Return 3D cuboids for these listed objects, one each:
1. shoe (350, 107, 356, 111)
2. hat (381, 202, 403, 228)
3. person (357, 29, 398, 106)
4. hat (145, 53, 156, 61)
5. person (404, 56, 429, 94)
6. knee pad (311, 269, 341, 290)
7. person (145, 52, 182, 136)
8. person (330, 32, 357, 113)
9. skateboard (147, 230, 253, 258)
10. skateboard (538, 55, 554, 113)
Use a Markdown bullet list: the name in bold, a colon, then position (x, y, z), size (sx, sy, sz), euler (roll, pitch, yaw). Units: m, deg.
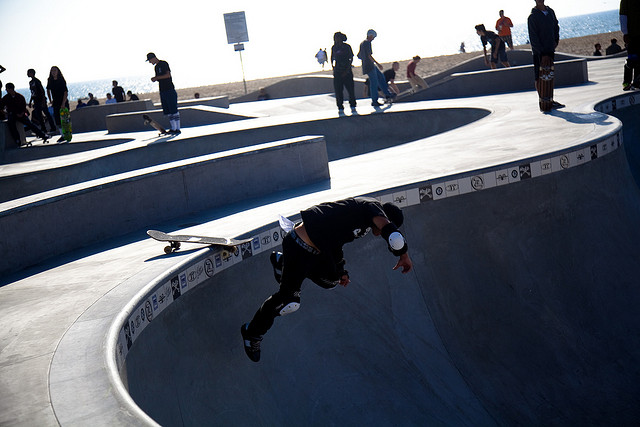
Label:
- **shoe**: position (0.929, -2.890, 11.898), size (0.179, 0.068, 0.130), euler (-11, 28, -37)
- **hat**: position (0.657, 0.037, 3.740), size (0.191, 0.250, 0.159), euler (-13, 17, -11)
- **person**: position (1.642, -4.113, 12.096), size (1.119, 2.059, 0.811), euler (-16, 19, -29)
- **hat**: position (-3.944, -3.638, 9.918), size (0.169, 0.130, 0.274), euler (-15, 17, -16)
- **person**: position (3.876, -5.461, 16.936), size (0.778, 1.418, 0.631), euler (-2, 39, 21)
- **knee pad**: position (0.046, 0.603, 3.887), size (0.248, 0.205, 0.053), euler (-9, 16, 5)
- **person**: position (-3.720, -2.838, 10.276), size (0.493, 1.922, 1.098), euler (-15, 17, -18)
- **person**: position (0.631, -3.634, 11.220), size (0.584, 1.982, 1.459), euler (-8, 16, 4)
- **skateboard**: position (-1.273, 0.342, 4.591), size (0.765, 0.136, 0.189), euler (6, 14, 9)
- **skateboard**: position (4.041, -2.303, 7.597), size (0.238, 1.016, 0.070), euler (0, 6, 14)
